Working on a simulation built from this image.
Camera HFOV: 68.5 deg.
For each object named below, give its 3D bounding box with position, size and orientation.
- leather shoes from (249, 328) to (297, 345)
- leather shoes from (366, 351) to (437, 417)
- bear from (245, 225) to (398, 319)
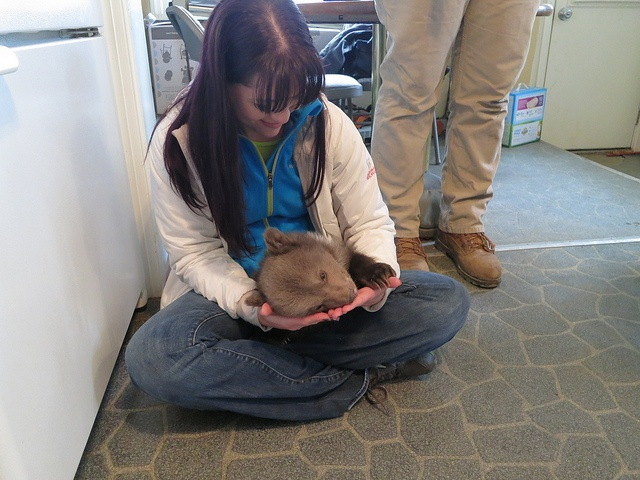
[{"bbox_3d":[-0.170,0.351,1.694,0.118,0.069,0.032,5,38,4],"label":"leather shoes"},{"bbox_3d":[0.272,0.503,1.789,0.334,0.219,0.124,-24,43,-1],"label":"leather shoes"},{"bbox_3d":[0.001,0.129,1.524,0.478,0.336,0.297,-8,-18,40],"label":"bear"}]
